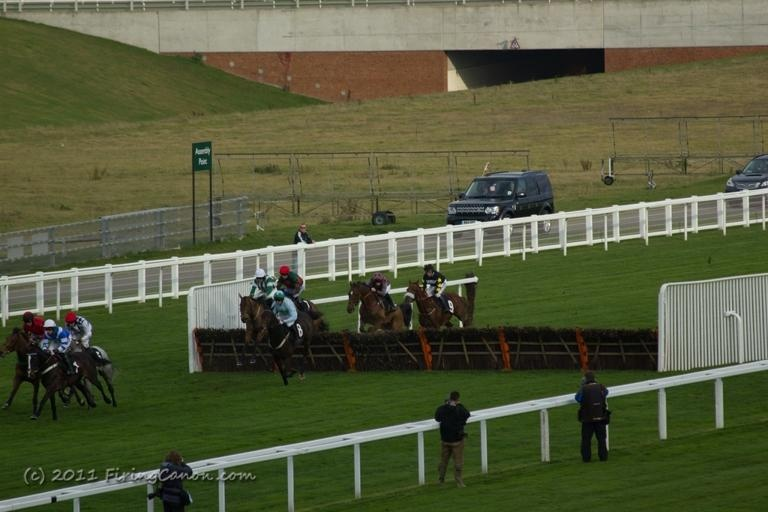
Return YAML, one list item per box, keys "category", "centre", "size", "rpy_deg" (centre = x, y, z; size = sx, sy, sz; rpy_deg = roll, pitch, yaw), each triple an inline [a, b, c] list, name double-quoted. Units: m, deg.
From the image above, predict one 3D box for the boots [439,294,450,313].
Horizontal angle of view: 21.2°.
- category: "boots"
  centre: [2.339, 1.922, 78.142]
  size: [0.428, 0.682, 0.234]
  rpy_deg: [-22, 4, -25]

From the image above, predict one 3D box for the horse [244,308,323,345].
- category: "horse"
  centre: [-4.030, 2.684, 77.237]
  size: [2.157, 1.587, 3.365]
  rpy_deg: [2, -5, 2]

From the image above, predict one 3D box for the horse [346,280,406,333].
- category: "horse"
  centre: [-0.379, 2.011, 77.763]
  size: [2.029, 1.686, 1.240]
  rpy_deg: [-4, 2, -1]

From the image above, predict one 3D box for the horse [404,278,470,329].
- category: "horse"
  centre: [2.119, 2.409, 78.725]
  size: [0.979, 2.716, 4.287]
  rpy_deg: [1, 5, 35]

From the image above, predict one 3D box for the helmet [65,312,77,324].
- category: "helmet"
  centre: [-11.573, 2.393, 75.684]
  size: [0.373, 0.372, 0.476]
  rpy_deg: [-12, 10, -3]

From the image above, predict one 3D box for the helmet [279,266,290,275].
- category: "helmet"
  centre: [-3.815, 0.660, 78.217]
  size: [0.322, 0.372, 0.426]
  rpy_deg: [0, -16, 4]

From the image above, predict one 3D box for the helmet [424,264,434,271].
- category: "helmet"
  centre: [1.681, 0.536, 78.829]
  size: [0.334, 0.180, 0.461]
  rpy_deg: [-1, -5, 0]

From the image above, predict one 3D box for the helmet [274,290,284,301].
- category: "helmet"
  centre: [-3.922, 1.590, 76.395]
  size: [0.287, 0.320, 0.365]
  rpy_deg: [3, 17, 5]

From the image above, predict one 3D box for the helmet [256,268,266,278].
- category: "helmet"
  centre: [-4.668, 0.756, 77.597]
  size: [0.339, 0.313, 0.629]
  rpy_deg: [-4, 2, -2]

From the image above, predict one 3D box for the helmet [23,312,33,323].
- category: "helmet"
  centre: [-13.078, 2.365, 75.443]
  size: [0.303, 0.292, 0.388]
  rpy_deg: [-4, 13, -4]
